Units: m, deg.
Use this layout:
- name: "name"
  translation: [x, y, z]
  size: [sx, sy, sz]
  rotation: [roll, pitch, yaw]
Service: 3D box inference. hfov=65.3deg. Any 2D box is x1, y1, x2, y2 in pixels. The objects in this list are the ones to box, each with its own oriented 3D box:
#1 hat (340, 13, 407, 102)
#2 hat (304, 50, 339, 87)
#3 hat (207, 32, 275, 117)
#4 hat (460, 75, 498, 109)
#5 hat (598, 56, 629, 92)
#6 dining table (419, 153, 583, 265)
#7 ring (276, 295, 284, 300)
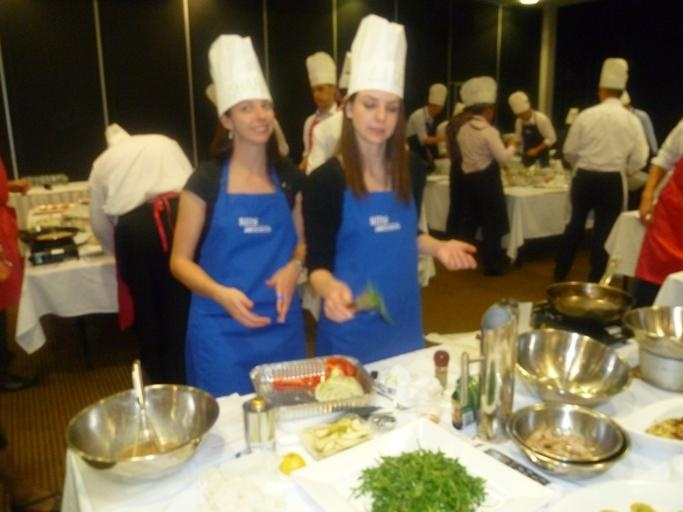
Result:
- name: "hat"
  translation: [0.133, -0.742, 2.004]
  size: [0.214, 0.301, 0.230]
  rotation: [-1, 19, 5]
- name: "hat"
  translation: [-0.161, -1.586, 4.691]
  size: [0.284, 0.319, 0.350]
  rotation: [-3, -22, 1]
- name: "hat"
  translation: [-0.405, -0.708, 2.076]
  size: [0.234, 0.344, 0.136]
  rotation: [-15, -1, -12]
- name: "hat"
  translation: [1.366, -1.622, 5.364]
  size: [0.285, 0.264, 0.355]
  rotation: [-15, 17, -32]
- name: "hat"
  translation: [2.453, -1.611, 4.798]
  size: [0.211, 0.277, 0.254]
  rotation: [6, 21, 25]
- name: "dining table"
  translation: [1.555, -0.426, 6.147]
  size: [1.554, 0.730, 1.647]
  rotation: [4, 9, 10]
- name: "ring"
  translation: [-0.231, 0.149, 1.979]
  size: [0.021, 0.017, 0.027]
  rotation: [-2, 1, 3]
